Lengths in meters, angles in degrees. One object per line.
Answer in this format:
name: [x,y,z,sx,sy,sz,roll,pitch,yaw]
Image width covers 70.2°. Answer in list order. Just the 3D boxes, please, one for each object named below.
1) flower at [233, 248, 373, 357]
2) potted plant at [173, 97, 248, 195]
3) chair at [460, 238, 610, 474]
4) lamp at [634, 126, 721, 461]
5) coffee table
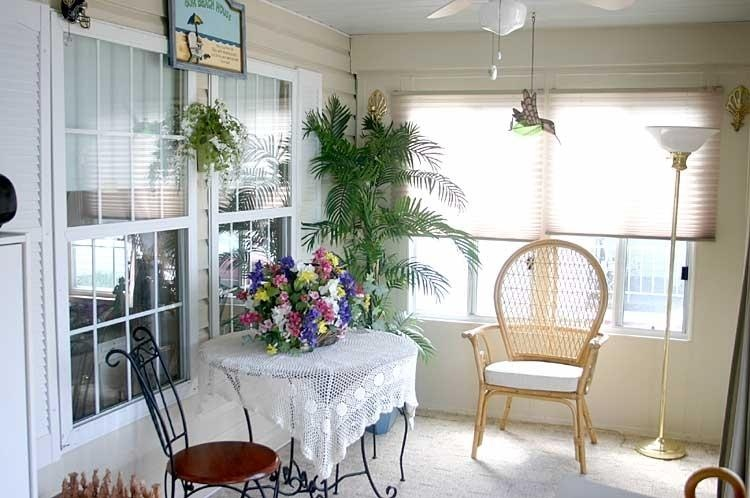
flower: [-0.440,0.297,3.271,0.685,0.529,0.595,-20,22,-35]
potted plant: [-0.956,-0.669,3.391,0.489,0.504,0.400,17,-6,-42]
chair: [1.305,0.759,4.260,0.969,1.621,0.923,5,11,24]
lamp: [2.286,0.319,4.160,0.465,2.487,0.734,6,12,31]
coffee table: [-0.501,0.714,3.289,1.044,0.604,1.079,-2,0,45]
